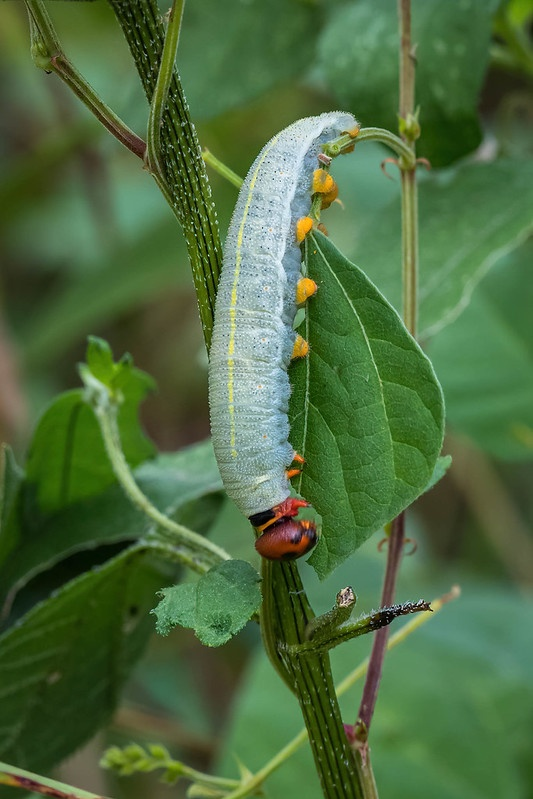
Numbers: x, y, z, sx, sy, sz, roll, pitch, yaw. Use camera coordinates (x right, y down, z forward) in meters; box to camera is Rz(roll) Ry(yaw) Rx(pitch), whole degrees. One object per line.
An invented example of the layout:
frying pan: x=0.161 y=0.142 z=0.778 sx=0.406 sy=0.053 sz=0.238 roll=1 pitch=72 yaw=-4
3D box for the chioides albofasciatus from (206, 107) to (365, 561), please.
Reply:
chioides albofasciatus: x=0.011 y=-0.096 z=0.845 sx=0.151 sy=0.539 sz=0.114 roll=4 pitch=-27 yaw=4
